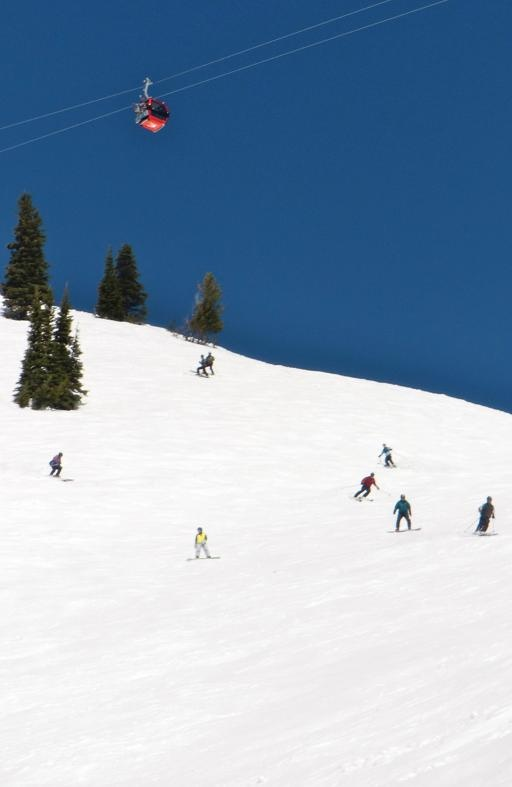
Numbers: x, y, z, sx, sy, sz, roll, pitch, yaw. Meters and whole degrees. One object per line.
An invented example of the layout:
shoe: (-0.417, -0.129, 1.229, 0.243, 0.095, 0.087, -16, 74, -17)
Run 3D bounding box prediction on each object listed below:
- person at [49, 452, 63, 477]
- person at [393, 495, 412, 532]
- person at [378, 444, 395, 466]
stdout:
person: (-6.322, 2.295, 32.549, 0.365, 0.774, 0.717, -5, 4, -12)
person: (4.049, 3.264, 28.610, 0.464, 1.093, 2.431, -4, 4, 8)
person: (4.895, 2.344, 38.733, 0.541, 0.888, 1.262, -4, 4, 4)
